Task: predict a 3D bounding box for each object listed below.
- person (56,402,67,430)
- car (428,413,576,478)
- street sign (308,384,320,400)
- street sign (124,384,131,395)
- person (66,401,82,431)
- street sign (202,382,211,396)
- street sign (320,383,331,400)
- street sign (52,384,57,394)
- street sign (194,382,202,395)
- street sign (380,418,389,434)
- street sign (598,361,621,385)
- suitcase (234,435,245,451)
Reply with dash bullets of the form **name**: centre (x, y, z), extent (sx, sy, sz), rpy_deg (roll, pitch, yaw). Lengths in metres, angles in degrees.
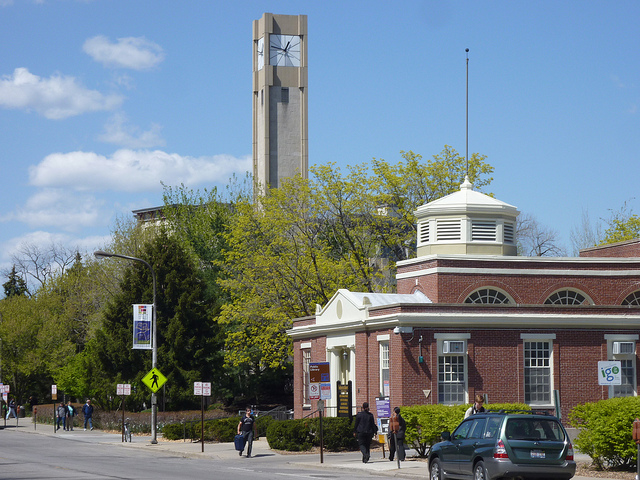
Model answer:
- **person**: centre (-17.408, 12.155, 92.152), extent (0.816, 1.186, 2.952), rpy_deg (-8, 5, -12)
- **car**: centre (7.571, 8.673, 56.362), extent (5.527, 2.891, 1.951), rpy_deg (-6, 5, 24)
- **street sign**: centre (-0.233, 7.243, 64.715), extent (0.494, 0.758, 0.471), rpy_deg (-7, 5, -2)
- **street sign**: centre (-11.251, 8.813, 79.746), extent (0.287, 0.706, 1.007), rpy_deg (-7, 5, 0)
- **person**: centre (-16.979, 12.327, 94.023), extent (1.464, 2.564, 0.755), rpy_deg (6, -19, -35)
- **street sign**: centre (-5.870, 7.782, 70.584), extent (0.411, 0.688, 0.474), rpy_deg (-9, 5, -18)
- **street sign**: centre (0.255, 7.287, 65.107), extent (0.421, 0.883, 0.986), rpy_deg (-7, 5, 3)
- **street sign**: centre (-17.288, 9.856, 88.784), extent (0.220, 0.381, 0.710), rpy_deg (-9, 5, -16)
- **street sign**: centre (-6.266, 7.771, 70.693), extent (0.408, 0.626, 0.448), rpy_deg (-6, 5, 10)
- **street sign**: centre (3.121, 8.986, 65.677), extent (0.720, 0.801, 0.563), rpy_deg (0, -9, -1)
- **street sign**: centre (12.869, 5.956, 60.549), extent (1.330, 1.495, 0.158), rpy_deg (1, 0, 3)
- **suitcase**: centre (-4.130, 10.374, 68.970), extent (0.596, 1.240, 0.741), rpy_deg (0, -3, 4)
